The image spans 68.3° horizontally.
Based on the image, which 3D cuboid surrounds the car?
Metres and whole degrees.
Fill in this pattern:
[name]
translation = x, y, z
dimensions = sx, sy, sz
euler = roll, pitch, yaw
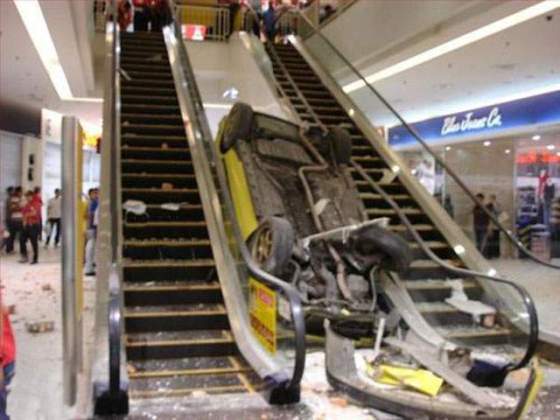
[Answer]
[car]
translation = 0.147, 0.123, 5.358
dimensions = 1.809, 3.499, 1.157
euler = 6, -38, -40
